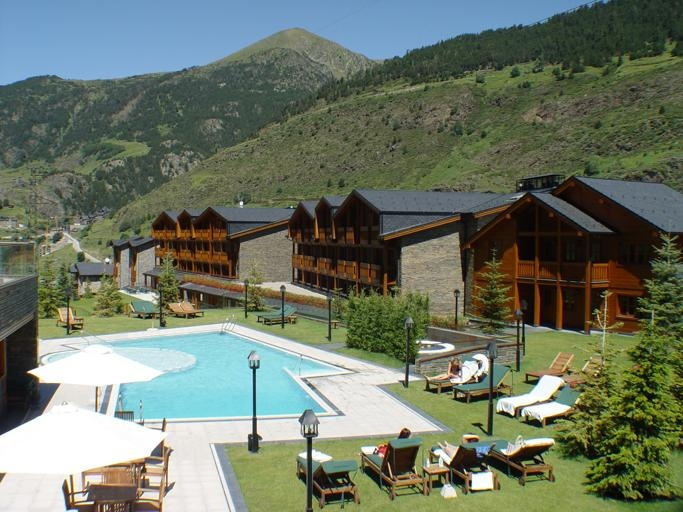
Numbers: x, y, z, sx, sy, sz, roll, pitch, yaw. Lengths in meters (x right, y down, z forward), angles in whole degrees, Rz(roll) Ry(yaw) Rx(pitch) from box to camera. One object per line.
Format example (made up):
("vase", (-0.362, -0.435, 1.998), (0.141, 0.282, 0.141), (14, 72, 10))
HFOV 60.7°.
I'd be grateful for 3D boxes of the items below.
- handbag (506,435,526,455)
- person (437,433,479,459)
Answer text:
("handbag", (5.795, 6.173, 19.134), (0.339, 0.464, 1.114), (-8, -12, 29))
("person", (3.779, 6.300, 19.399), (0.766, 0.477, 1.090), (0, -7, -40))
